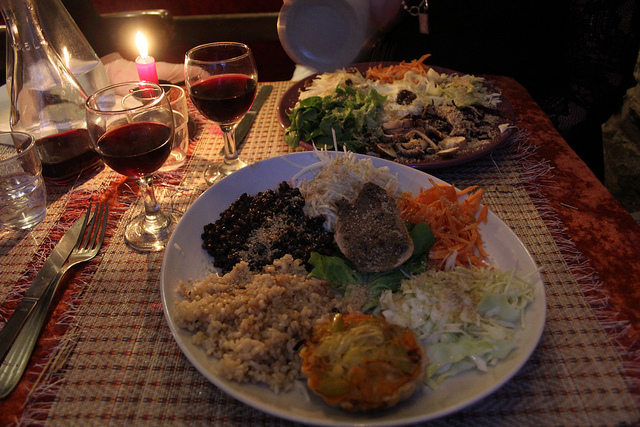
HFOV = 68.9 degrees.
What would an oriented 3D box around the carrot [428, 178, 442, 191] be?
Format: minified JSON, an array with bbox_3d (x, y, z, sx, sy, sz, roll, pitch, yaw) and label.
[{"bbox_3d":[0.571,-0.148,2.326,0.014,0.017,0.097,-52,31,18],"label":"carrot"}]

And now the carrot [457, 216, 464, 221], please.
[{"bbox_3d":[0.664,0.020,2.217,0.019,0.005,0.018,-2,83,27],"label":"carrot"}]

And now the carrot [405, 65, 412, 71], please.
[{"bbox_3d":[0.611,-1.006,3.237,0.046,0.011,0.045,18,27,16],"label":"carrot"}]

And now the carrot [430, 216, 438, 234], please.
[{"bbox_3d":[0.540,0.042,2.222,0.024,0.049,0.067,-4,85,38],"label":"carrot"}]

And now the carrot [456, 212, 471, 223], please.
[{"bbox_3d":[0.682,0.015,2.212,0.035,0.015,0.048,-35,63,-27],"label":"carrot"}]

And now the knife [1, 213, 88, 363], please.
[{"bbox_3d":[-1.242,0.304,2.066,0.074,0.064,0.648,1,48,20],"label":"knife"}]

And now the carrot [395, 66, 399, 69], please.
[{"bbox_3d":[0.533,-1.013,3.252,0.027,0.006,0.025,1,81,-1],"label":"carrot"}]

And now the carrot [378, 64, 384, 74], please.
[{"bbox_3d":[0.422,-1.010,3.267,0.047,0.018,0.055,-56,44,14],"label":"carrot"}]

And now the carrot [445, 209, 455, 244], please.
[{"bbox_3d":[0.610,0.043,2.195,0.029,0.017,0.124,-7,67,-1],"label":"carrot"}]

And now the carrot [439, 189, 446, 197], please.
[{"bbox_3d":[0.592,-0.100,2.269,0.016,0.016,0.060,-22,30,-5],"label":"carrot"}]

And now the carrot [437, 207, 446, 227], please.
[{"bbox_3d":[0.572,0.015,2.222,0.016,0.011,0.100,22,96,-1],"label":"carrot"}]

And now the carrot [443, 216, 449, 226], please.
[{"bbox_3d":[0.598,0.031,2.221,0.009,0.037,0.039,-29,59,-2],"label":"carrot"}]

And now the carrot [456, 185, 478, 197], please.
[{"bbox_3d":[0.751,-0.117,2.381,0.131,0.022,0.019,-22,50,-20],"label":"carrot"}]
